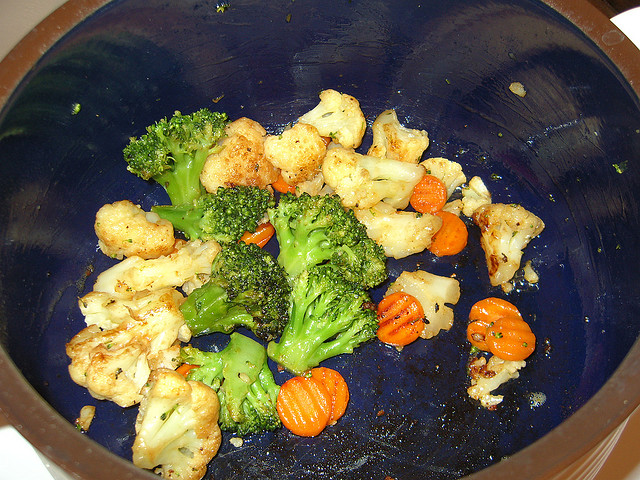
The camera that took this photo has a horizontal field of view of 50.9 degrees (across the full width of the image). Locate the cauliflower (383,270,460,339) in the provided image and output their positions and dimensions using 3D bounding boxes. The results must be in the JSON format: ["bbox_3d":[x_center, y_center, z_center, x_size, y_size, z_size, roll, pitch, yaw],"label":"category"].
[{"bbox_3d":[0.631,0.328,3.923,0.360,0.321,0.397,-3,106,1],"label":"cauliflower"}]

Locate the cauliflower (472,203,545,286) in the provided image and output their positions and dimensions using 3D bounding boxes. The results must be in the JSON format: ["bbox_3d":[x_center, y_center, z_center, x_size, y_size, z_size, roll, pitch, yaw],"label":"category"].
[{"bbox_3d":[1.075,0.022,3.960,0.356,0.164,0.470,11,90,13],"label":"cauliflower"}]

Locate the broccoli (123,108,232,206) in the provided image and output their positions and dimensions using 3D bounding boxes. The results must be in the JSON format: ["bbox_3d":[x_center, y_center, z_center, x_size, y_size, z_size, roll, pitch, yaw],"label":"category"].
[{"bbox_3d":[-0.826,-0.459,4.006,0.620,0.607,0.548,-13,93,20],"label":"broccoli"}]

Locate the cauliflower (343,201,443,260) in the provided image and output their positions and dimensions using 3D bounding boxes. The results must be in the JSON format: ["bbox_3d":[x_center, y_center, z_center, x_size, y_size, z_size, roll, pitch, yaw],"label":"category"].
[{"bbox_3d":[0.431,-0.114,4.053,0.447,0.502,0.346,-13,107,-24],"label":"cauliflower"}]

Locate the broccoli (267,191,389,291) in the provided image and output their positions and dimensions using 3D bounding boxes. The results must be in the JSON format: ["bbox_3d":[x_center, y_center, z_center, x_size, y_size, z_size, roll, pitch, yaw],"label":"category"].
[{"bbox_3d":[0.038,0.011,3.774,0.616,0.437,0.541,-6,108,-8],"label":"broccoli"}]

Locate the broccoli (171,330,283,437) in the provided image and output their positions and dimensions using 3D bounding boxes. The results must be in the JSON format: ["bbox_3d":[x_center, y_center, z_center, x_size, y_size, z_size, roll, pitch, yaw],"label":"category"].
[{"bbox_3d":[-0.450,0.795,3.689,0.473,0.164,0.582,-15,84,-20],"label":"broccoli"}]

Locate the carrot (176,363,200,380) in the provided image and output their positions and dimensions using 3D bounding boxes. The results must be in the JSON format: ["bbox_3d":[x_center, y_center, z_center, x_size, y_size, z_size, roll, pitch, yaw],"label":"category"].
[{"bbox_3d":[-0.738,0.714,3.703,0.085,0.026,0.093,11,63,20],"label":"carrot"}]

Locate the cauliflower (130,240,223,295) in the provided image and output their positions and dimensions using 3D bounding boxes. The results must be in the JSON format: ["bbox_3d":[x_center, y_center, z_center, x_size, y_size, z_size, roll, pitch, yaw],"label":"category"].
[{"bbox_3d":[-0.809,0.163,3.782,0.412,0.158,0.326,-20,89,0],"label":"cauliflower"}]
